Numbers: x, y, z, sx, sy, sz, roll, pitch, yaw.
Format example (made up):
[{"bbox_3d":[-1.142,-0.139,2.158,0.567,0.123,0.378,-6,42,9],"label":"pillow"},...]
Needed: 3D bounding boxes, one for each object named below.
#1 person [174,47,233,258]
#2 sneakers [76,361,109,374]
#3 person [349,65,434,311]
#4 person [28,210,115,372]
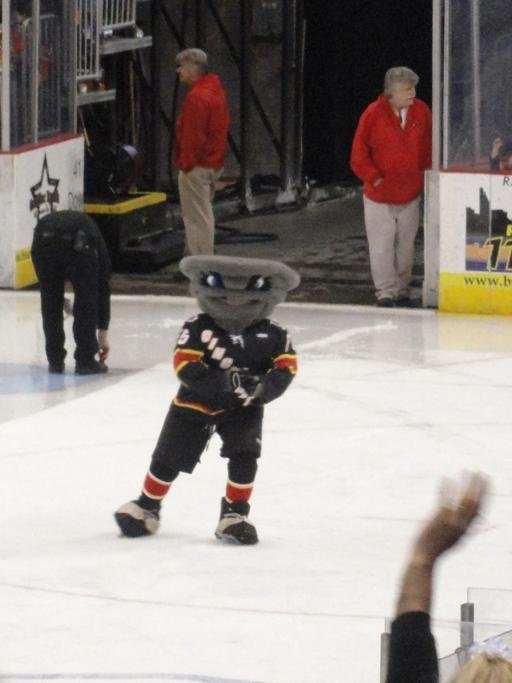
[{"bbox_3d":[-0.428,-1.394,9.071,0.373,1.533,0.522,1,8,19],"label":"person"},{"bbox_3d":[-0.916,0.154,7.008,0.175,0.073,0.074,-4,9,-39],"label":"sneakers"},{"bbox_3d":[0.971,-1.062,8.673,0.489,1.650,0.634,3,8,28],"label":"person"},{"bbox_3d":[-1.015,-0.262,6.885,0.428,0.920,0.304,-1,7,-3],"label":"person"}]
